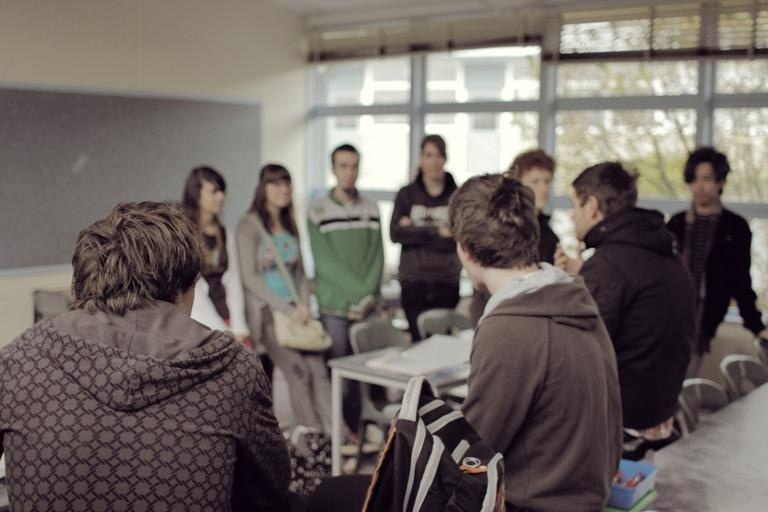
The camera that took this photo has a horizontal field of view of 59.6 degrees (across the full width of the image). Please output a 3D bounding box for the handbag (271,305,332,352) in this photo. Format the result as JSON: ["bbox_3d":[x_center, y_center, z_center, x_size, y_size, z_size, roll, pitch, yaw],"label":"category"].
[{"bbox_3d":[-0.538,0.498,4.294,0.297,0.100,0.300,14,21,-19],"label":"handbag"}]

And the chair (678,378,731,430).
[{"bbox_3d":[1.449,0.676,3.026,0.215,0.215,0.153,14,10,-45],"label":"chair"}]
